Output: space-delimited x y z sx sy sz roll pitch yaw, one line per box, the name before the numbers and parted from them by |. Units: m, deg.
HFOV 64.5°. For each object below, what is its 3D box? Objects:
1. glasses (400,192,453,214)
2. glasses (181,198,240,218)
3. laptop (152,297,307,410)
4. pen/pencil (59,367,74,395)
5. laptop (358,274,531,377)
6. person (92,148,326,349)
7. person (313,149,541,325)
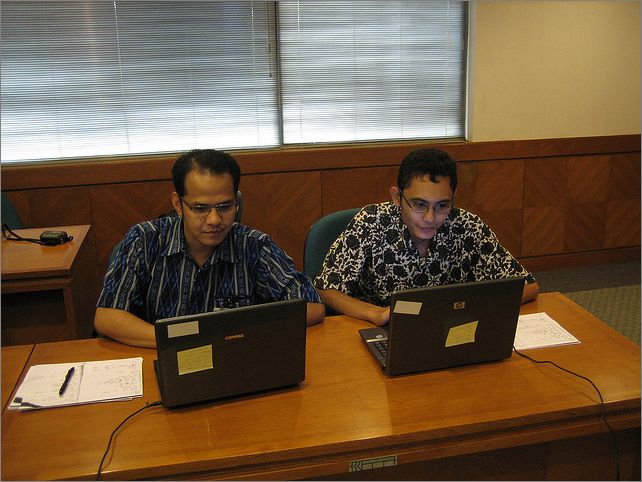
glasses | 0.451 -0.164 2.240 0.223 0.075 0.078 6 22 18
glasses | -0.456 -0.140 2.070 0.225 0.064 0.087 -4 21 -9
laptop | -0.296 0.376 1.693 0.520 0.353 0.370 -4 21 -17
pen/pencil | -0.933 0.506 1.850 0.016 0.016 0.156 30 6 -27
laptop | 0.462 0.300 1.878 0.534 0.368 0.365 -4 24 -12
person | -0.578 0.065 2.427 1.036 0.920 0.801 -5 19 -23
person | 0.442 0.064 2.626 1.091 0.934 0.793 -4 34 -7
